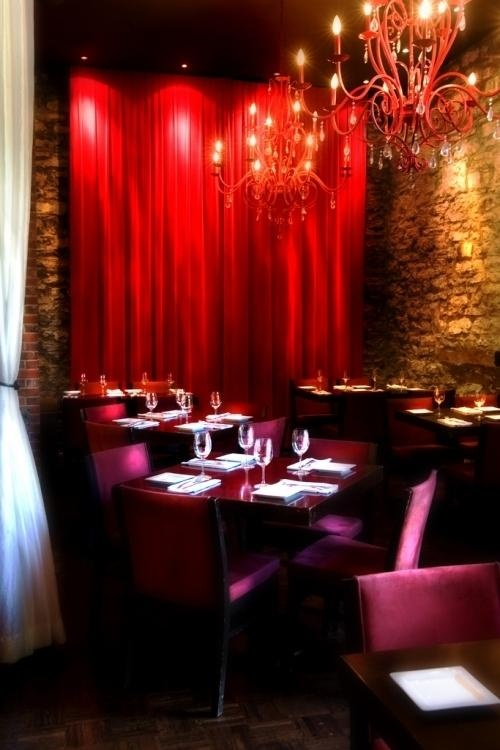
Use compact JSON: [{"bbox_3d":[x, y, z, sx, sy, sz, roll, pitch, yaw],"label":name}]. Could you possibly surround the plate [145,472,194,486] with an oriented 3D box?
[{"bbox_3d":[-0.328,0.423,2.477,0.115,0.019,0.171,0,-1,24],"label":"plate"}]
